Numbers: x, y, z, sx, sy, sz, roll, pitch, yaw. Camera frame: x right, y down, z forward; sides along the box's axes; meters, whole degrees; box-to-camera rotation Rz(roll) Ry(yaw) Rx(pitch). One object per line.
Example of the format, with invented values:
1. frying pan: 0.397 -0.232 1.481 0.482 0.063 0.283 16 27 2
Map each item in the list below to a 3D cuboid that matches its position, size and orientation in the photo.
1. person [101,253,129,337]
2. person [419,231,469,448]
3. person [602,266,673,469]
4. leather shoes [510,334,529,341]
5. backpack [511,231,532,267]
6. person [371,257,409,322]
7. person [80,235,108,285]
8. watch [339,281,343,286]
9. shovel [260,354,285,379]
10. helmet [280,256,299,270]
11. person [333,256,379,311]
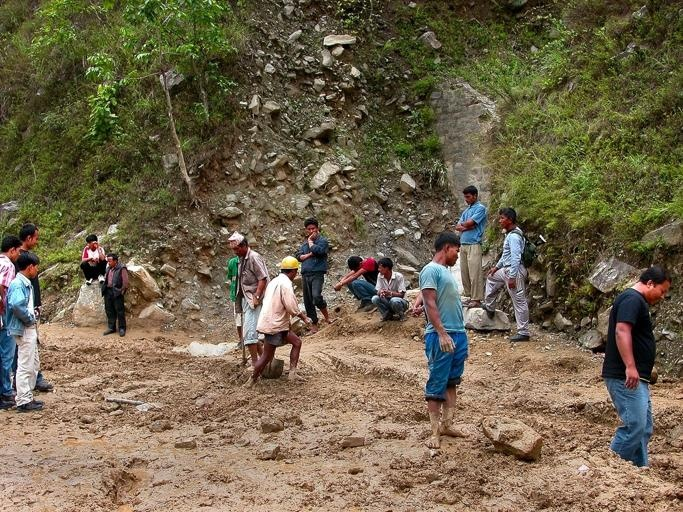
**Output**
1. person: -4.664 0.779 15.424 0.558 1.674 0.386 0 2 3
2. person: 1.424 1.143 10.200 0.483 2.927 0.689 2 2 42
3. person: 3.861 1.442 9.838 0.733 2.629 0.435 0 2 -15
4. leather shoes: 3.240 1.458 13.523 0.319 0.157 0.128 2 0 6
5. backpack: 3.322 -0.098 13.493 0.527 0.593 0.409 2 -1 3
6. person: 0.975 0.637 14.464 0.696 1.201 0.520 1 2 23
7. person: -5.299 0.068 16.106 0.532 1.049 0.797 0 1 -20
8. watch: 0.015 0.523 14.493 0.046 0.092 0.085 -6 5 1
9. shovel: -1.120 1.874 12.458 0.248 0.432 0.399 4 35 -1
10. helmet: -0.814 0.118 12.211 0.260 0.201 0.483 0 1 0
11. person: 0.410 0.526 15.213 0.962 1.101 0.679 1 -10 -23
